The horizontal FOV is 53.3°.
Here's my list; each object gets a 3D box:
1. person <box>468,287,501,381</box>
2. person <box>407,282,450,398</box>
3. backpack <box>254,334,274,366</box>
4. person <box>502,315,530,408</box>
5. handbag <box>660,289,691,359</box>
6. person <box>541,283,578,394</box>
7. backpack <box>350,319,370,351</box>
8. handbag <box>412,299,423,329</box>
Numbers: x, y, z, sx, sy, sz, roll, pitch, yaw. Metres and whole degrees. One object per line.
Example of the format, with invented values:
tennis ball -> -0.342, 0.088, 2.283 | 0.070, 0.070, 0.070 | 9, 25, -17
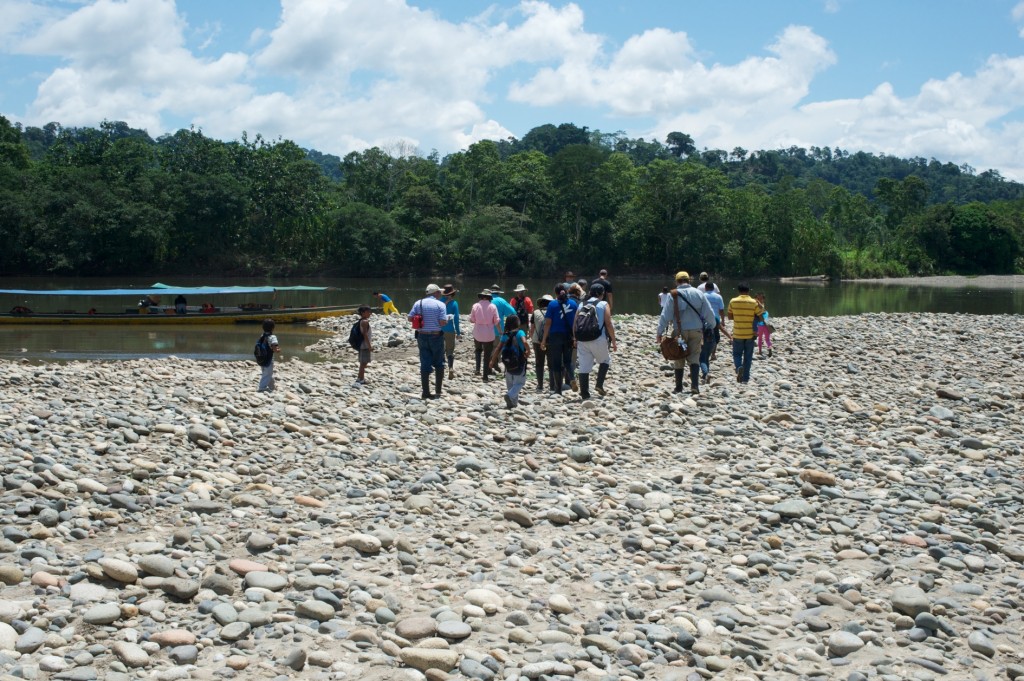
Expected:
person -> -0.617, -0.121, 23.971 | 0.651, 2.113, 1.410 | -1, 6, -2
person -> -1.726, 0.014, 21.834 | 0.761, 2.397, 1.589 | -1, 6, -4
backpack -> -5.245, 0.248, 21.749 | 0.381, 0.689, 0.391 | -2, 7, -12
person -> 0.068, 0.418, 20.538 | 0.473, 1.777, 1.128 | -1, 6, 0
handbag -> 3.363, -0.307, 21.083 | 0.575, 1.494, 0.419 | -1, 7, 1
person -> 1.031, -0.017, 21.717 | 0.692, 2.362, 1.230 | 0, 6, 3
backpack -> -3.536, -0.107, 23.712 | 0.451, 0.700, 0.466 | -2, 6, -13
handbag -> -1.969, -0.450, 21.298 | 0.209, 0.531, 0.307 | -1, 6, -5
